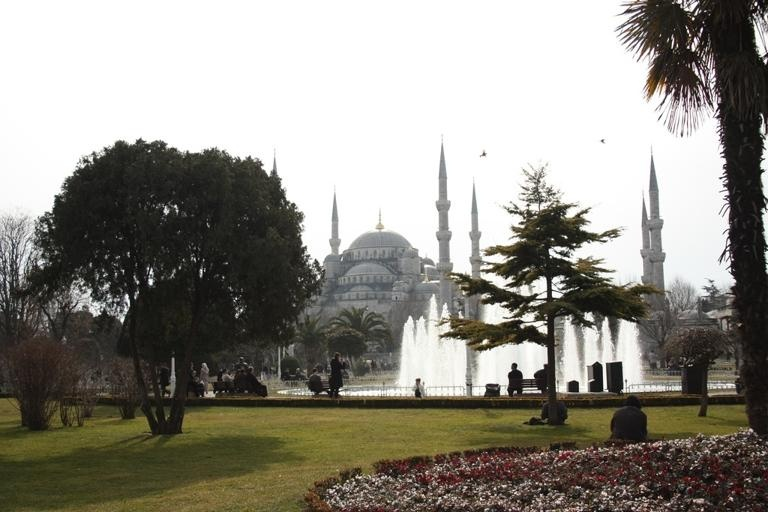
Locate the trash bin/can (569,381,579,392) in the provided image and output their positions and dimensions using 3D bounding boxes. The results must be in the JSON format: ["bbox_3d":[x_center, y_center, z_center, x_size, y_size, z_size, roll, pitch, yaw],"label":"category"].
[{"bbox_3d":[7.857,5.442,47.001,0.436,0.510,1.256,-3,-12,9],"label":"trash bin/can"}]

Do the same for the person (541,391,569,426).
[{"bbox_3d":[5.114,4.705,34.166,0.728,0.845,0.763,-3,-11,7],"label":"person"}]

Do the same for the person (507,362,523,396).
[{"bbox_3d":[4.944,4.721,42.923,0.537,1.234,1.315,-2,-11,3],"label":"person"}]

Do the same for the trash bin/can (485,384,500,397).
[{"bbox_3d":[4.201,5.231,44.005,0.580,0.572,0.614,2,2,15],"label":"trash bin/can"}]

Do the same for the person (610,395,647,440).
[{"bbox_3d":[6.199,4.120,28.724,0.860,1.232,1.597,-4,-12,11],"label":"person"}]
